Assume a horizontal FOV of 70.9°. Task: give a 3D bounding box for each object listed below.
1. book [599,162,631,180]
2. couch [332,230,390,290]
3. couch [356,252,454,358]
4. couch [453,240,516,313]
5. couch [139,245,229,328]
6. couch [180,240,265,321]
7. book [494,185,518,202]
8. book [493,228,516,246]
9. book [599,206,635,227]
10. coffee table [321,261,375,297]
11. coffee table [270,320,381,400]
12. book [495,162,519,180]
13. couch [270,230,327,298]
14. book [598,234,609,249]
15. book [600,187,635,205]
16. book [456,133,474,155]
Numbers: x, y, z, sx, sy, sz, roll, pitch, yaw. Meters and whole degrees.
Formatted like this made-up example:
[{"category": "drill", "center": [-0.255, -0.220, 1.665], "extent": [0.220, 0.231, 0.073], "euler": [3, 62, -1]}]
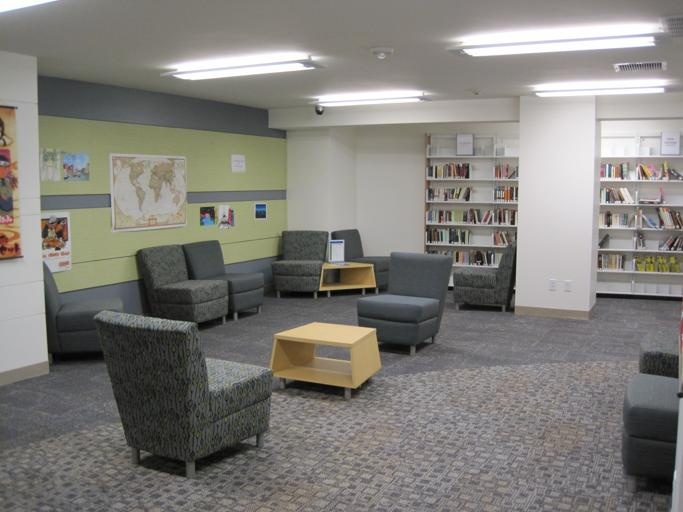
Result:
[{"category": "book", "center": [5.353, -1.661, 9.351], "extent": [0.529, 0.318, 0.292], "euler": [4, 9, 27]}, {"category": "couch", "center": [0.469, 0.073, 10.134], "extent": [1.191, 1.321, 0.964], "euler": [2, 6, 39]}, {"category": "couch", "center": [0.879, 0.597, 6.595], "extent": [0.928, 1.267, 1.182], "euler": [3, 5, 29]}, {"category": "couch", "center": [2.558, 0.294, 8.654], "extent": [1.004, 1.094, 0.798], "euler": [2, 12, 19]}, {"category": "couch", "center": [-2.429, 0.444, 7.454], "extent": [1.211, 1.182, 1.087], "euler": [1, 8, 9]}, {"category": "couch", "center": [-1.986, 0.333, 7.974], "extent": [1.311, 1.523, 1.077], "euler": [0, 5, 28]}, {"category": "book", "center": [3.343, -1.271, 9.911], "extent": [0.489, 0.301, 0.527], "euler": [-4, -3, 1]}, {"category": "book", "center": [3.340, -0.391, 9.812], "extent": [0.416, 0.418, 0.245], "euler": [1, -3, 4]}, {"category": "book", "center": [5.377, -0.748, 9.381], "extent": [0.685, 0.311, 0.336], "euler": [1, -6, 4]}, {"category": "coffee table", "center": [-0.056, 0.459, 9.686], "extent": [1.185, 0.600, 1.241], "euler": [-2, 1, -27]}, {"category": "coffee table", "center": [-0.140, 1.075, 5.257], "extent": [1.020, 0.533, 0.965], "euler": [-3, -7, 29]}, {"category": "book", "center": [3.354, -1.743, 9.808], "extent": [0.470, 0.330, 0.240], "euler": [1, 8, 8]}, {"category": "couch", "center": [-0.826, 0.118, 9.733], "extent": [1.179, 1.328, 1.274], "euler": [3, 2, 38]}, {"category": "book", "center": [5.206, -0.320, 9.523], "extent": [0.058, 0.253, 0.242], "euler": [18, -9, -18]}, {"category": "book", "center": [5.393, -1.188, 9.366], "extent": [0.598, 0.297, 0.371], "euler": [4, 9, 27]}, {"category": "book", "center": [2.553, -2.307, 9.901], "extent": [0.344, 0.444, 0.217], "euler": [2, 8, 15]}]
